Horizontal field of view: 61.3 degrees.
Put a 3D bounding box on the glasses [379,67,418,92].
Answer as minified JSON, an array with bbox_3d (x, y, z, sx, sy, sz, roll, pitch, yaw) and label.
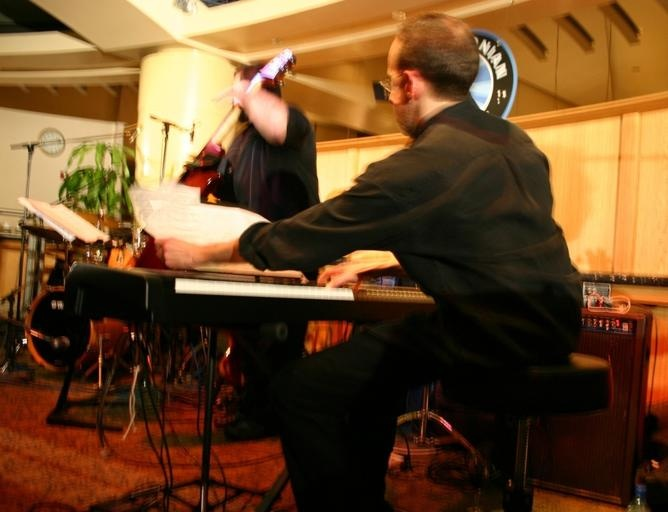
[{"bbox_3d":[0.245,-0.703,2.240,0.110,0.049,0.082,-24,-5,34],"label":"glasses"}]

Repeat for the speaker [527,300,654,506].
[{"bbox_3d":[1.403,0.734,3.254,0.567,1.049,0.761,6,0,21],"label":"speaker"}]

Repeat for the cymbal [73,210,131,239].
[{"bbox_3d":[-2.015,-0.276,4.874,0.305,0.078,0.315,23,0,-30],"label":"cymbal"}]

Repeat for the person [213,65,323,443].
[{"bbox_3d":[-0.349,0.275,2.929,0.617,2.237,0.637,4,1,-20],"label":"person"}]

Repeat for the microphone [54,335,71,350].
[{"bbox_3d":[-2.056,0.650,4.257,0.112,0.093,0.047,3,1,-24],"label":"microphone"}]

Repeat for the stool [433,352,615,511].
[{"bbox_3d":[0.740,0.652,2.275,0.665,0.775,0.688,-2,-8,31],"label":"stool"}]

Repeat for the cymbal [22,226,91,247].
[{"bbox_3d":[-2.008,-0.149,4.005,0.317,0.080,0.332,11,-1,39],"label":"cymbal"}]
